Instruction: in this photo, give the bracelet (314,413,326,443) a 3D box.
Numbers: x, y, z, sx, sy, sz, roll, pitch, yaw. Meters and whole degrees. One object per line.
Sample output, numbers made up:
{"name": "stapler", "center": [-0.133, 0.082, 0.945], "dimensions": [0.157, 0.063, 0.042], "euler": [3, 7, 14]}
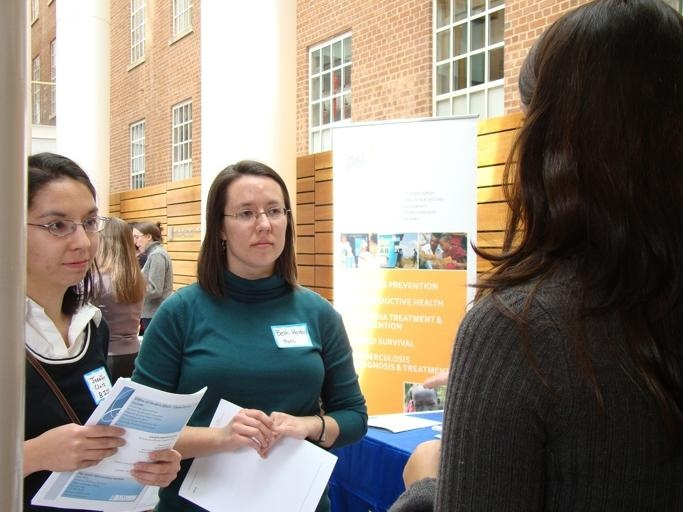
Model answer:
{"name": "bracelet", "center": [-0.063, 0.552, 1.602], "dimensions": [0.030, 0.079, 0.083], "euler": [-1, 3, -3]}
